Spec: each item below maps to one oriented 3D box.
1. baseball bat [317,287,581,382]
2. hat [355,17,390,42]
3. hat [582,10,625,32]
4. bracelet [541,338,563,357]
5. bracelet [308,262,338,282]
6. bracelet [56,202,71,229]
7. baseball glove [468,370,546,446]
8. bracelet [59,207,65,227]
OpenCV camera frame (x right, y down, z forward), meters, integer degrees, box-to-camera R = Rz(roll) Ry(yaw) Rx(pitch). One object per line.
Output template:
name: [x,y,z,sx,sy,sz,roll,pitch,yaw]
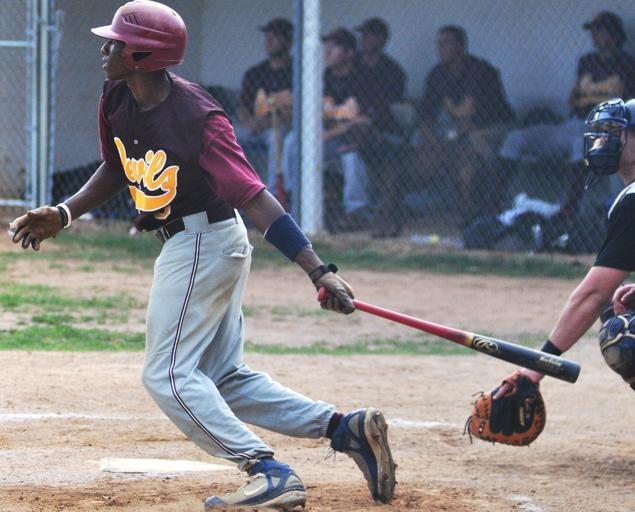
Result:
baseball bat: [0.963,0.628,11.722,1.671,0.183,0.183,18,-23,-3]
hat: [0.532,-2.092,14.903,0.269,0.141,0.197,28,22,21]
hat: [2.558,-2.042,13.964,0.294,0.157,0.212,11,11,6]
bracelet: [1.490,0.594,9.980,0.165,0.108,0.115,3,-9,15]
bracelet: [0.038,0.105,9.589,0.143,0.056,0.106,-28,5,-6]
bracelet: [-1.594,-0.248,9.957,0.051,0.119,0.139,-8,48,-10]
baseball glove: [1.245,1.023,10.248,0.478,0.491,0.277,2,15,-6]
bracelet: [-1.599,-0.235,9.923,0.026,0.098,0.099,-7,-23,8]
